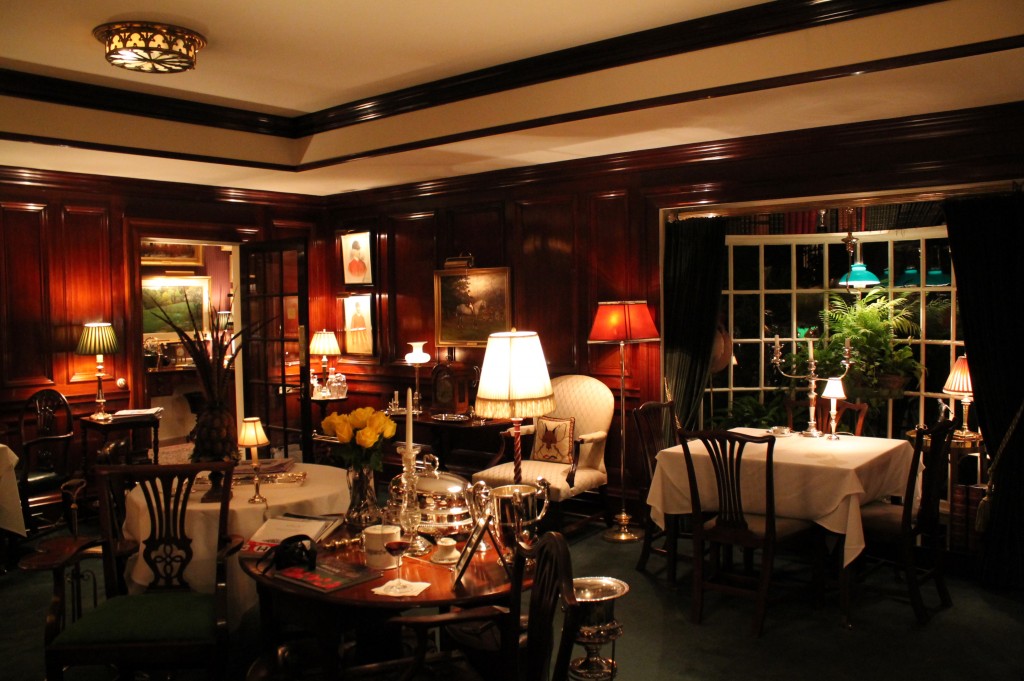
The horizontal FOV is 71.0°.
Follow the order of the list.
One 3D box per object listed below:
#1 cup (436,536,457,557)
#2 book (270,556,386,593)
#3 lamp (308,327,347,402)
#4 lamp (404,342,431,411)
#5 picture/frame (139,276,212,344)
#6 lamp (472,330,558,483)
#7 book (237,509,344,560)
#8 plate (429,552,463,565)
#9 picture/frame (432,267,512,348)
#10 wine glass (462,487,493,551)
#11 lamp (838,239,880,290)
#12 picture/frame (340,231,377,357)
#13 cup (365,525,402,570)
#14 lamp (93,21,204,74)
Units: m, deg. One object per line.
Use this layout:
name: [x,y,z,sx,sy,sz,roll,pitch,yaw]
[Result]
cup: [-0.343,1.087,3.754,0.086,0.060,0.082,0,-8,0]
book: [-0.961,1.172,3.603,0.514,0.046,0.242,3,10,23]
lamp: [-2.261,0.295,8.571,0.448,0.764,0.431,-1,-2,7]
lamp: [-1.074,0.421,8.084,0.354,0.735,0.331,1,-6,-20]
picture/frame: [-4.529,-0.419,9.486,1.018,0.831,0.105,3,10,4]
lamp: [0.045,0.420,4.288,0.442,0.940,0.463,-8,11,-37]
book: [-1.246,1.092,4.044,0.467,0.060,0.538,1,9,8]
plate: [-0.347,1.126,3.737,0.147,0.056,0.099,-1,9,-5]
picture/frame: [-0.454,-0.340,7.937,1.043,0.869,0.078,-3,4,-39]
wine glass: [-0.171,0.885,3.719,0.126,0.260,0.266,-1,9,-3]
lamp: [3.562,-0.798,7.434,0.430,0.537,0.433,-6,1,-9]
picture/frame: [-1.907,-0.578,8.849,0.589,1.497,0.192,8,12,43]
cup: [-0.669,1.047,3.710,0.203,0.216,0.200,1,0,0]
lamp: [-2.638,-2.104,5.231,0.725,0.162,0.695,-3,3,12]
